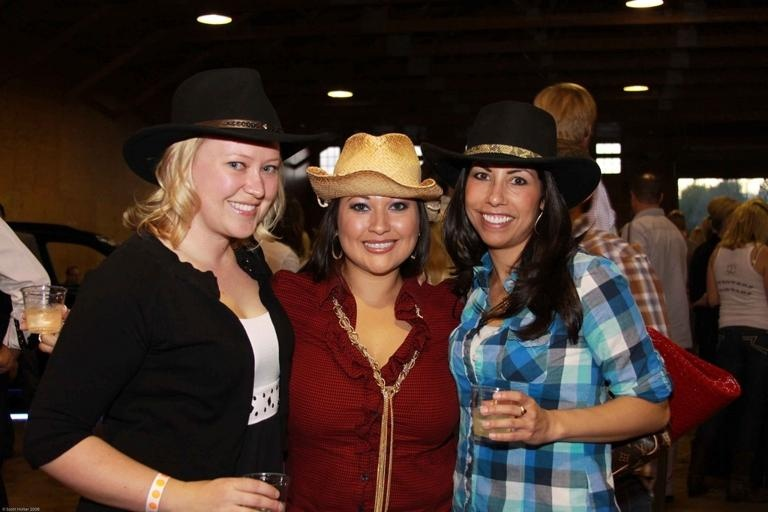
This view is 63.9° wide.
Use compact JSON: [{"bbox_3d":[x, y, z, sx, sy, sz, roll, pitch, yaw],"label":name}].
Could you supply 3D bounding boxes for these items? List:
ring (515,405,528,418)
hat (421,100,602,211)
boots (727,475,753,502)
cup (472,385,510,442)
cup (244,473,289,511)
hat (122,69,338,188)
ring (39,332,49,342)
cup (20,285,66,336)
[{"bbox_3d":[0.573,0.654,2.577,0.041,0.052,0.021,-26,-31,0],"label":"ring"},{"bbox_3d":[0.656,-0.528,2.983,0.614,0.227,0.662,6,-15,28],"label":"hat"},{"bbox_3d":[3.394,2.177,5.821,0.335,0.219,0.149,1,-2,-32],"label":"boots"},{"bbox_3d":[0.454,0.674,2.633,0.135,0.230,0.165,0,-2,-2],"label":"cup"},{"bbox_3d":[-0.463,0.938,2.440,0.140,0.115,0.146,1,-30,1],"label":"cup"},{"bbox_3d":[-0.768,-0.704,2.879,0.725,0.294,0.794,-11,15,-31],"label":"hat"},{"bbox_3d":[-1.590,0.376,2.855,0.037,0.035,0.037,2,-9,0],"label":"ring"},{"bbox_3d":[-1.624,0.268,3.026,0.251,0.250,0.250,2,-6,0],"label":"cup"}]
